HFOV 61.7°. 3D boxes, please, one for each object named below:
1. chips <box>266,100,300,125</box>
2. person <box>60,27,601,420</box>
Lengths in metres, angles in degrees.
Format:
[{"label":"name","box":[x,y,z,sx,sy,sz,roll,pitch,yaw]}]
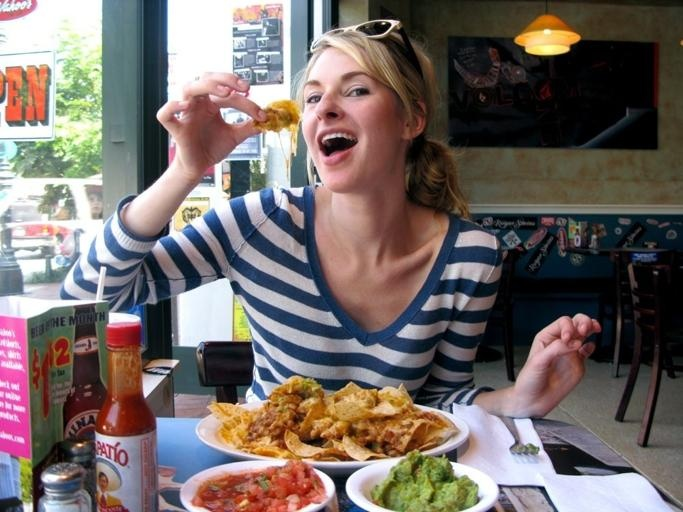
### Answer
[{"label":"chips","box":[-0.169,-0.401,1.649,0.068,0.042,0.090,2,6,0]},{"label":"person","box":[-0.088,-0.116,1.674,1.138,1.100,0.392,-2,12,-7]}]
